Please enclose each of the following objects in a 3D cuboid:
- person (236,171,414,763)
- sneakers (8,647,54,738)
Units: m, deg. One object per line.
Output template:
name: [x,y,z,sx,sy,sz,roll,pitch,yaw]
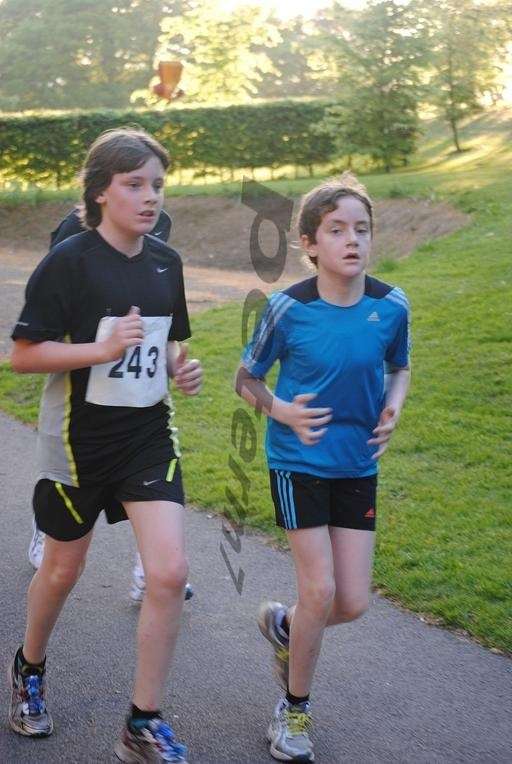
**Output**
person: [0.236,0.261,1.992,0.541,1.691,0.535,-1,14,-1]
sneakers: [-0.706,0.981,2.093,0.121,0.280,0.135,-5,-9,-19]
